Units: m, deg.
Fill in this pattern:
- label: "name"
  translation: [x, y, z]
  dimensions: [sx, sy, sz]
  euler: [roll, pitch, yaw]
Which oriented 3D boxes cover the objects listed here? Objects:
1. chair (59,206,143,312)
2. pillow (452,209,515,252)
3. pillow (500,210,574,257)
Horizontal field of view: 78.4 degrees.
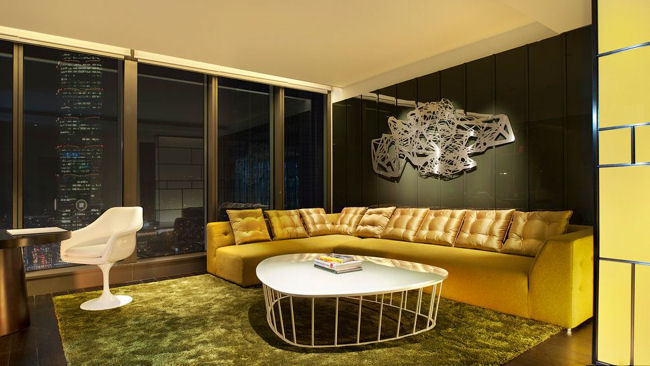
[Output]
- label: "chair"
  translation: [-3.401, 1.102, 6.132]
  dimensions: [1.243, 1.393, 1.138]
  euler: [-4, -3, 43]
- label: "pillow"
  translation: [2.499, 0.717, 6.425]
  dimensions: [0.882, 0.205, 0.855]
  euler: [10, 52, 33]
- label: "pillow"
  translation: [3.047, 0.718, 5.899]
  dimensions: [0.194, 0.732, 0.819]
  euler: [35, -18, -33]
